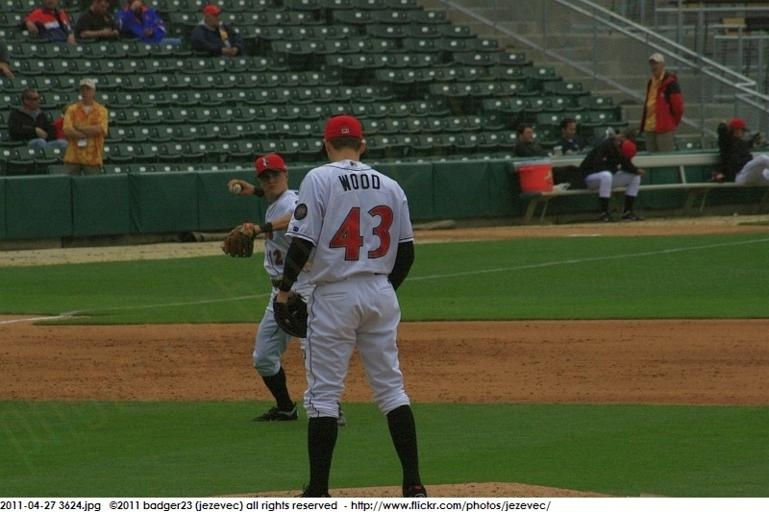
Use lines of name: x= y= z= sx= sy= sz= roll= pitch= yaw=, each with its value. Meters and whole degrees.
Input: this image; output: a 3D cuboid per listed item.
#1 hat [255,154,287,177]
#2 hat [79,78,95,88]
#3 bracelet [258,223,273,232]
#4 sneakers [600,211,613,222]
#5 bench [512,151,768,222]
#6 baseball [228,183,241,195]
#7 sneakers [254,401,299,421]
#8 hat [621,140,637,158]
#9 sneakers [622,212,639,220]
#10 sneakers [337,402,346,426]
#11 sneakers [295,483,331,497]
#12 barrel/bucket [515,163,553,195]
hat: x=-1.463 y=-1.186 z=18.035 sx=0.334 sy=0.244 sz=0.459 roll=-5 pitch=4 yaw=4
hat: x=-5.285 y=-3.063 z=24.537 sx=0.240 sy=0.166 sz=0.380 roll=-5 pitch=13 yaw=-17
bracelet: x=-1.511 y=-0.361 z=17.562 sx=0.130 sy=0.101 sz=0.103 roll=7 pitch=-4 yaw=-22
sneakers: x=4.273 y=-0.756 z=26.426 sx=0.237 sy=0.192 sz=0.210 roll=-2 pitch=12 yaw=-6
bench: x=4.769 y=-1.307 z=26.702 sx=4.507 sy=1.268 sz=0.731 roll=-3 pitch=13 yaw=-11
baseball: x=-1.994 y=-0.888 z=18.327 sx=0.161 sy=0.203 sz=0.160 roll=2 pitch=0 yaw=26
sneakers: x=-1.371 y=2.017 z=17.728 sx=0.606 sy=0.227 sz=0.199 roll=0 pitch=0 yaw=-4
hat: x=4.631 y=-2.004 z=25.919 sx=0.251 sy=0.427 sz=0.497 roll=5 pitch=14 yaw=27
sneakers: x=4.712 y=-0.765 z=26.474 sx=0.398 sy=0.229 sz=0.127 roll=-2 pitch=6 yaw=4
sneakers: x=-0.544 y=2.048 z=17.505 sx=0.106 sy=0.140 sz=0.333 roll=-3 pitch=-33 yaw=2
sneakers: x=-0.817 y=2.751 z=16.199 sx=0.460 sy=0.169 sz=0.153 roll=4 pitch=-2 yaw=6
barrel/bucket: x=2.885 y=-1.453 z=26.301 sx=0.634 sy=0.449 sz=0.566 roll=-3 pitch=2 yaw=-14
